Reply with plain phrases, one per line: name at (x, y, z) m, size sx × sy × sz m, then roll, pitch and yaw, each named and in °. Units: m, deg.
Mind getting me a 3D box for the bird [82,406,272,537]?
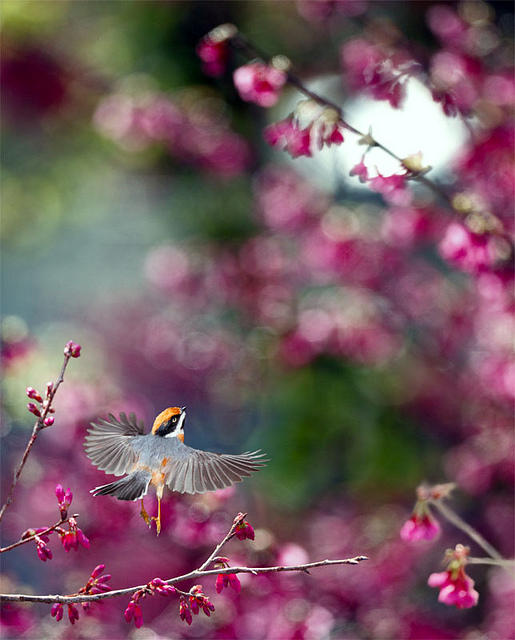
bird at (-0.211, 0.300, 1.790) m, size 0.402 × 0.222 × 0.190 m, roll 10°, pitch 98°, yaw 26°
